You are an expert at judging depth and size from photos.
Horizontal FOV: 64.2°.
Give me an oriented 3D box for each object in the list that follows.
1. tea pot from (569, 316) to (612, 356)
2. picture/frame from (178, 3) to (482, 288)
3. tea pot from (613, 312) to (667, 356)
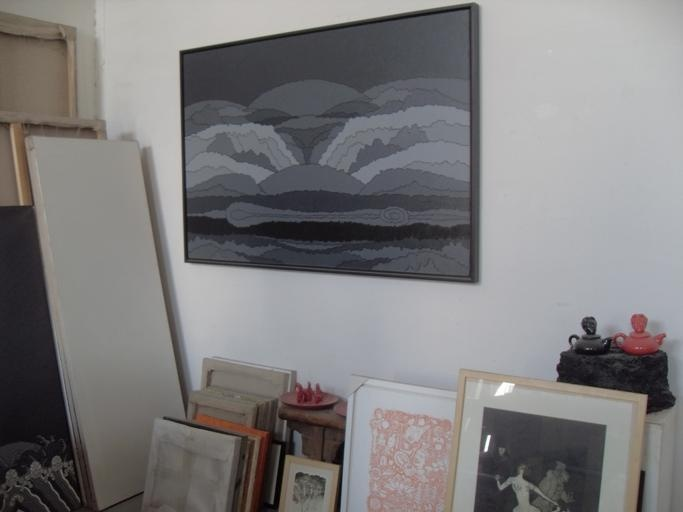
[{"bbox_3d":[0.984,0.323,2.187,0.110,0.122,0.166,1,-5,-22],"label":"tea pot"},{"bbox_3d":[-0.010,-0.550,2.631,1.418,1.083,0.050,1,3,28],"label":"picture/frame"},{"bbox_3d":[1.147,0.298,2.134,0.190,0.151,0.148,-4,-1,9],"label":"tea pot"}]
